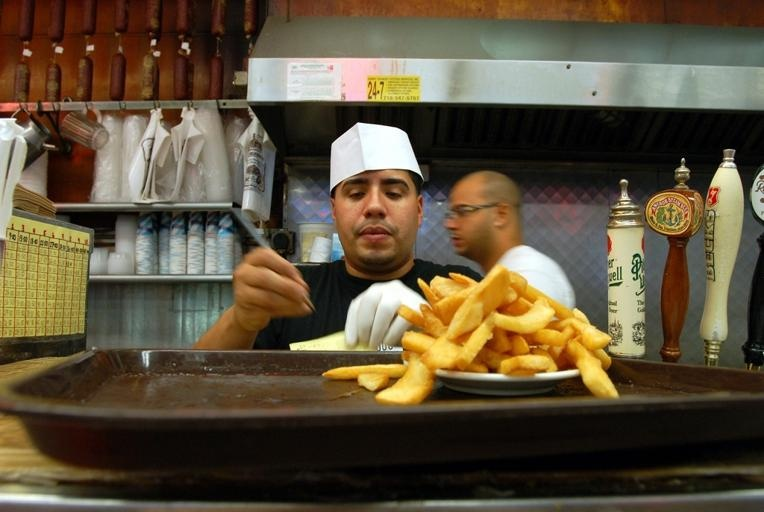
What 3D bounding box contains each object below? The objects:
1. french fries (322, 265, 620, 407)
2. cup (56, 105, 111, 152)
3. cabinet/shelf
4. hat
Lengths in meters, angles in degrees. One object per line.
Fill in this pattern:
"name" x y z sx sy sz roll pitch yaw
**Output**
"french fries" 0.280 0.211 1.884 0.625 0.295 0.688 -9 7 2
"cup" -1.663 -0.720 3.580 0.274 0.190 0.302 29 22 10
"cabinet/shelf" -1.297 -0.329 4.004 0.709 1.052 1.226 6 -7 -15
"hat" -0.030 -0.446 2.854 0.360 0.178 0.333 0 -5 -6
